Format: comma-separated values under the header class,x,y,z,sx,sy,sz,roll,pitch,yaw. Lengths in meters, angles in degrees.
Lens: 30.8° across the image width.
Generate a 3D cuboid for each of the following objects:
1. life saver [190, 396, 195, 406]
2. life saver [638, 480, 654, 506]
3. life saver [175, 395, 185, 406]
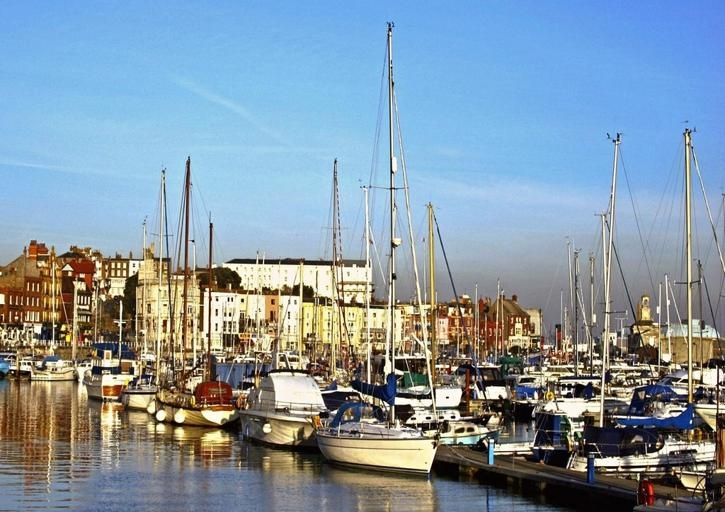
class,x,y,z,sx,sy,sz,roll,pitch,yaw
life saver,-10.279,8.909,81.017,0.090,0.455,0.416,-9,-21,22
life saver,12.901,10.822,59.995,0.645,1.004,0.647,-1,-7,5
life saver,-11.190,9.018,82.196,0.406,0.474,0.454,-2,-8,-8
